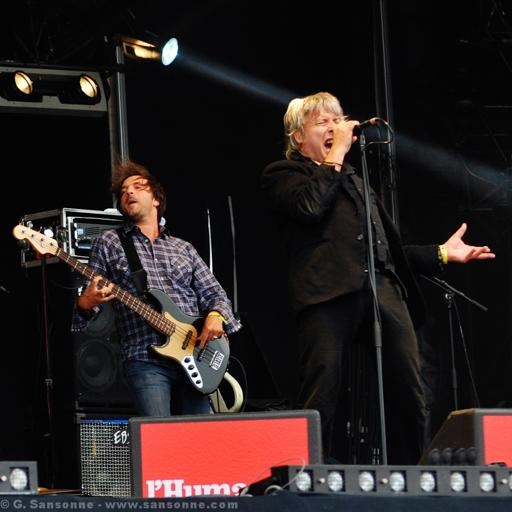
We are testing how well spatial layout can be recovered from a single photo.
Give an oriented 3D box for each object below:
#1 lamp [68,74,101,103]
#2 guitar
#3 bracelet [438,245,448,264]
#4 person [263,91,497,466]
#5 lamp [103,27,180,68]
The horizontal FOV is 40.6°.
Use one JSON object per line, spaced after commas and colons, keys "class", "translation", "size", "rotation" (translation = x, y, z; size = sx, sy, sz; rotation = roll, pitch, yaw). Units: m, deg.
{"class": "lamp", "translation": [-1.187, -1.181, 4.865], "size": [0.157, 0.151, 0.055], "rotation": [-3, -1, -24]}
{"class": "guitar", "translation": [-0.760, 0.242, 3.788], "size": [1.345, 0.685, 1.331], "rotation": [-3, -1, 6]}
{"class": "bracelet", "translation": [0.755, -0.004, 2.833], "size": [0.015, 0.059, 0.059], "rotation": [-11, -32, 14]}
{"class": "person", "translation": [0.401, 0.013, 2.514], "size": [0.704, 1.273, 0.821], "rotation": [-3, -1, -3]}
{"class": "lamp", "translation": [-0.804, -1.463, 4.975], "size": [0.472, 0.183, 0.221], "rotation": [-3, -1, -4]}
